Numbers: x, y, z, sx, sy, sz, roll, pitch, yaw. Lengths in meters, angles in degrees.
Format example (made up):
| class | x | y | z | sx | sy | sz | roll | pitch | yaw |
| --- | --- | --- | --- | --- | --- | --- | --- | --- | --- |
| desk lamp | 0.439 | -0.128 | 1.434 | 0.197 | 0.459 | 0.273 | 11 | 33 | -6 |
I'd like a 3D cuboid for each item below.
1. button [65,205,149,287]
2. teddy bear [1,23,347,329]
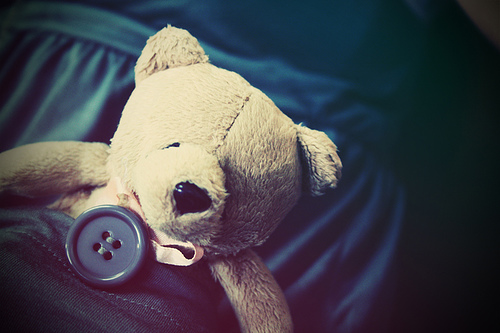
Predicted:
| class | x | y | z | sx | sy | sz | roll | pitch | yaw |
| --- | --- | --- | --- | --- | --- | --- | --- | --- | --- |
| button | -0.266 | 0.146 | 0.960 | 0.151 | 0.146 | 0.039 | 20 | -8 | -4 |
| teddy bear | -0.164 | 0.053 | 1.018 | 0.587 | 0.540 | 0.380 | 15 | 28 | -25 |
